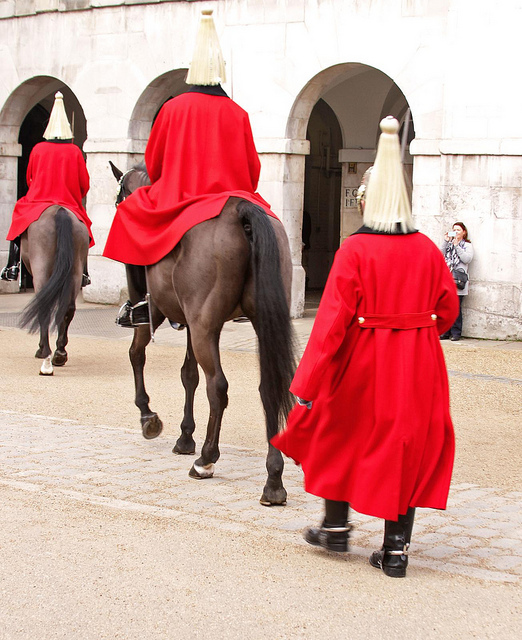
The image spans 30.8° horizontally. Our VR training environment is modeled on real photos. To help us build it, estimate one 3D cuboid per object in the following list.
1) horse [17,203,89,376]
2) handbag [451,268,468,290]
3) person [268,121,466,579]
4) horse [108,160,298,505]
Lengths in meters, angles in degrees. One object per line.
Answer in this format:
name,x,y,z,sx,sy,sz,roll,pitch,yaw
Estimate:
horse,-2.093,-0.324,9.389,0.689,1.664,1.131,5,5,-12
handbag,2.582,-0.539,12.361,0.343,0.280,0.162,1,7,-42
person,0.471,0.108,4.098,0.743,1.831,0.981,6,5,3
horse,-0.245,0.115,5.387,0.719,1.619,2.135,4,5,-17
